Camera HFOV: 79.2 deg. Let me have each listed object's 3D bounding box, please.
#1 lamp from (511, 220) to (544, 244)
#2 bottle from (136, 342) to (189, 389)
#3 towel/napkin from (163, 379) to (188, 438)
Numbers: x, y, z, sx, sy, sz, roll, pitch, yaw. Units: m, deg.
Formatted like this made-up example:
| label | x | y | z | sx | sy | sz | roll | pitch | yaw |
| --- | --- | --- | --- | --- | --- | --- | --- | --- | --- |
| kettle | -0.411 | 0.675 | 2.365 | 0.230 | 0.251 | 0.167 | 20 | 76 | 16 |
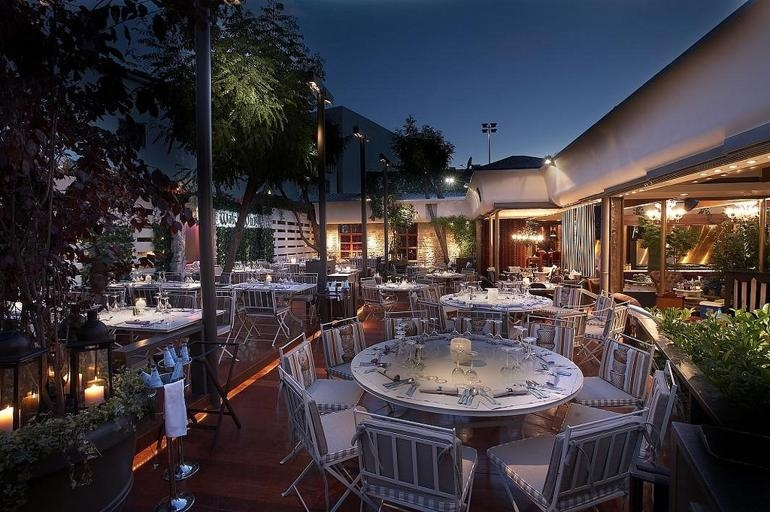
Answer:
| label | x | y | z | sx | sy | sz | roll | pitch | yaw |
| --- | --- | --- | --- | --- | --- | --- | --- | --- | --- |
| lamp | 5.622 | -0.968 | 18.491 | 1.333 | 1.130 | 1.263 | 3 | 5 | 43 |
| bottle | -2.161 | 1.050 | 4.496 | 0.407 | 0.234 | 0.418 | 0 | 6 | 0 |
| towel/napkin | -1.972 | 1.460 | 4.376 | 0.190 | 0.583 | 0.315 | -7 | 13 | -25 |
